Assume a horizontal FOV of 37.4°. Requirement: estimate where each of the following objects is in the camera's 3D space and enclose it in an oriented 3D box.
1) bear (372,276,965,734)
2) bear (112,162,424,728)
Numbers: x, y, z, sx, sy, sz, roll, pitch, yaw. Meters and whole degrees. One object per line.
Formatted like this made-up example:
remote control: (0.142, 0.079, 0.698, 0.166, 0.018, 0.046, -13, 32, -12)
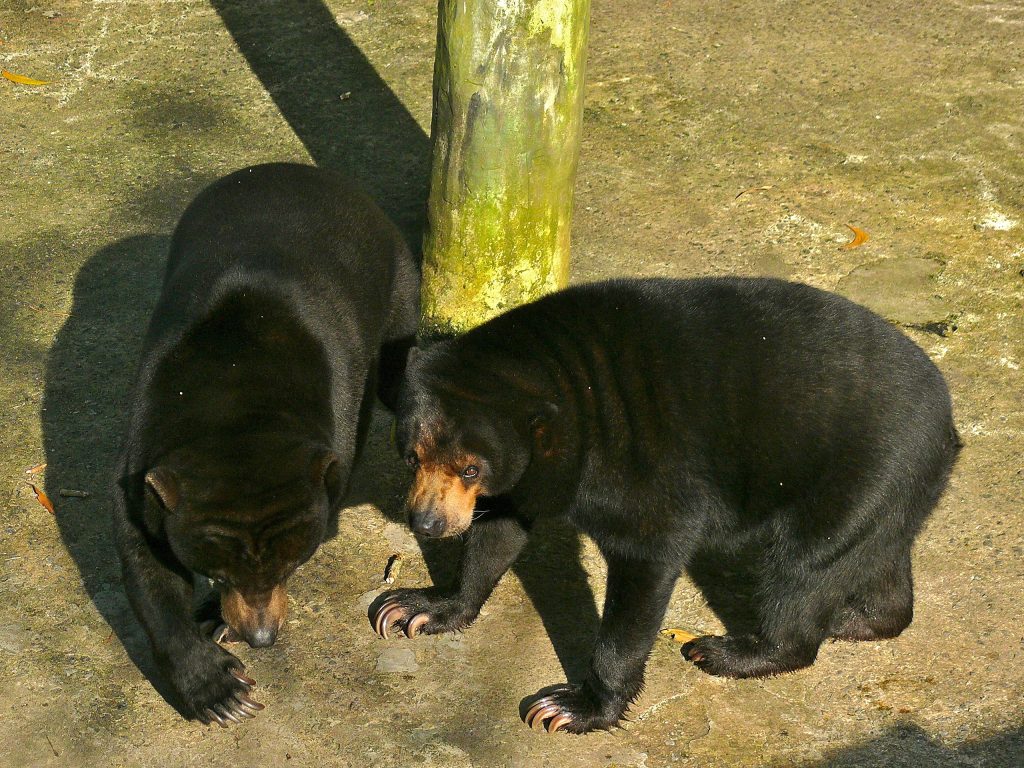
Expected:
bear: (0.512, 0.444, 6.762, 2.844, 1.666, 1.530, -2, 17, -32)
bear: (-0.969, 0.116, 6.686, 1.191, 1.446, 2.259, 12, 53, -8)
